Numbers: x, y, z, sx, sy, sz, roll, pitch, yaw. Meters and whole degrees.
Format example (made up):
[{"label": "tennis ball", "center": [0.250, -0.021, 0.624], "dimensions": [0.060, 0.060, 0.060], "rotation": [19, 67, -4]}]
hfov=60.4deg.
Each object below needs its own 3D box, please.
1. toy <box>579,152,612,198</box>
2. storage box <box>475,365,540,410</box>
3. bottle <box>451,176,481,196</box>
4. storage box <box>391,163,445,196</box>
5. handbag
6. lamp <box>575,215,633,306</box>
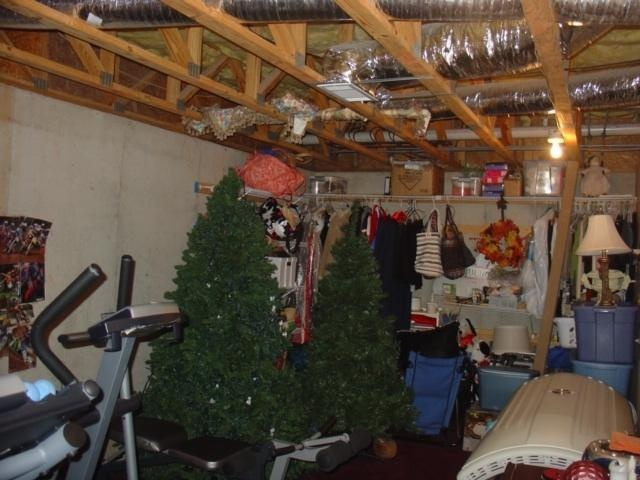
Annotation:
[{"label": "toy", "center": [2.898, -0.666, 5.787], "dimensions": [0.266, 0.456, 0.281], "rotation": [2, -1, 33]}, {"label": "storage box", "center": [1.463, 1.189, 4.293], "dimensions": [0.418, 0.399, 0.217], "rotation": [2, -1, 26]}, {"label": "bottle", "center": [1.669, -0.606, 6.255], "dimensions": [0.261, 0.179, 0.208], "rotation": [0, -1, 22]}, {"label": "storage box", "center": [1.142, -0.690, 6.456], "dimensions": [0.621, 0.251, 0.364], "rotation": [3, -1, 7]}, {"label": "handbag", "center": [1.442, 0.055, 6.235], "dimensions": [0.811, 0.930, 0.464], "rotation": [4, -5, -34]}, {"label": "lamp", "center": [2.261, 0.153, 4.384], "dimensions": [0.384, 0.723, 0.395], "rotation": [2, -1, 30]}]
